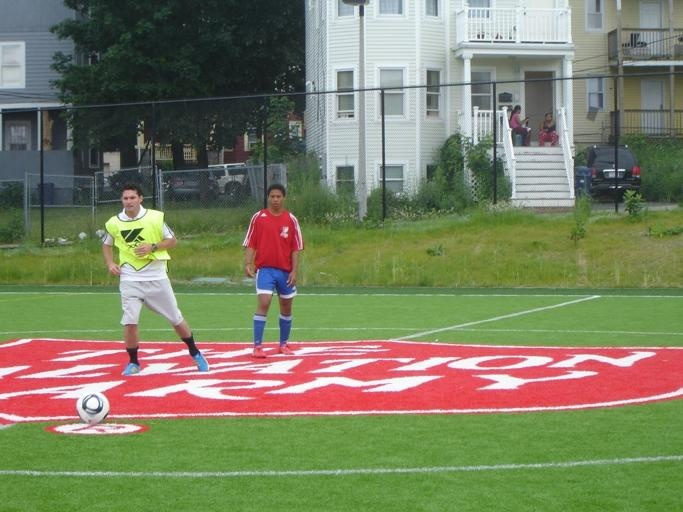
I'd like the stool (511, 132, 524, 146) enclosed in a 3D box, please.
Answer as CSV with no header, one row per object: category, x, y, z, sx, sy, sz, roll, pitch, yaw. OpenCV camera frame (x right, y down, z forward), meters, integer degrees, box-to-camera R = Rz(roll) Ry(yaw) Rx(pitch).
stool,6.710,-4.495,66.815,0.401,0.529,0.458,3,7,11
